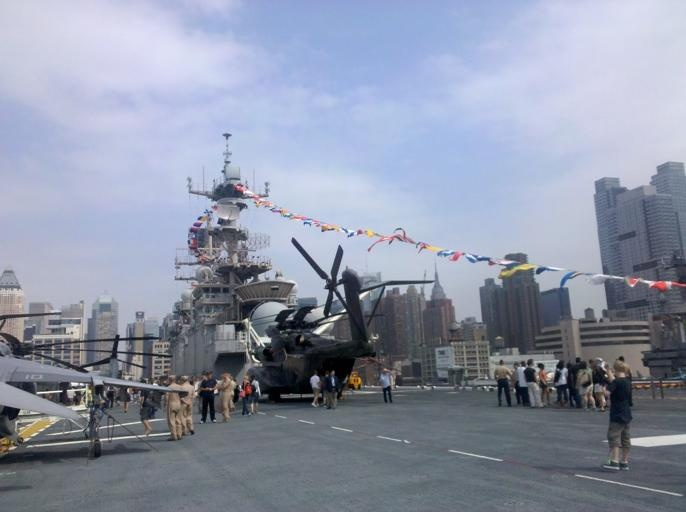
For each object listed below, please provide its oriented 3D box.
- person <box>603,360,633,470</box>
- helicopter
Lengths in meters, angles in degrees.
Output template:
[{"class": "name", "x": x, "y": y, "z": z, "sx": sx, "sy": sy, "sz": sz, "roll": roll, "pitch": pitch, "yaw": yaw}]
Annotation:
[{"class": "person", "x": 6.490, "y": 3.786, "z": 16.756, "sx": 1.076, "sy": 2.419, "sz": 0.997, "roll": 3, "pitch": -3, "yaw": 11}, {"class": "helicopter", "x": -2.728, "y": 4.477, "z": 38.685, "sx": 11.343, "sy": 6.784, "sz": 13.694, "roll": 7, "pitch": -15, "yaw": -24}]
